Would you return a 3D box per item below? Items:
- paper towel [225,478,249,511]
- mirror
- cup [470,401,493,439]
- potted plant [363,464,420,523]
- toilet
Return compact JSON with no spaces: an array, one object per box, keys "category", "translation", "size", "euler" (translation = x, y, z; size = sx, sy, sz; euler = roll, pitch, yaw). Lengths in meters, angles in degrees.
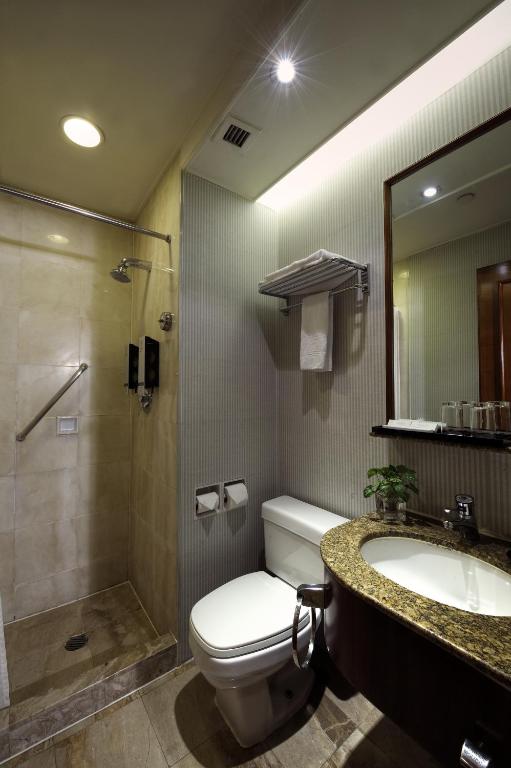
[{"category":"paper towel","translation":[-0.081,0.464,2.173],"size":[0.094,0.119,0.118],"euler":[-3,-5,42]},{"category":"mirror","translation":[0.603,-0.342,1.694],"size":[0.432,0.947,0.117],"euler":[4,8,42]},{"category":"cup","translation":[0.679,0.104,1.532],"size":[0.069,0.102,0.072],"euler":[3,-2,0]},{"category":"potted plant","translation":[0.439,0.375,1.687],"size":[0.162,0.163,0.153],"euler":[-4,-9,44]},{"category":"toilet","translation":[0.049,0.827,1.803],"size":[0.540,0.706,0.410],"euler":[-11,18,-36]}]
